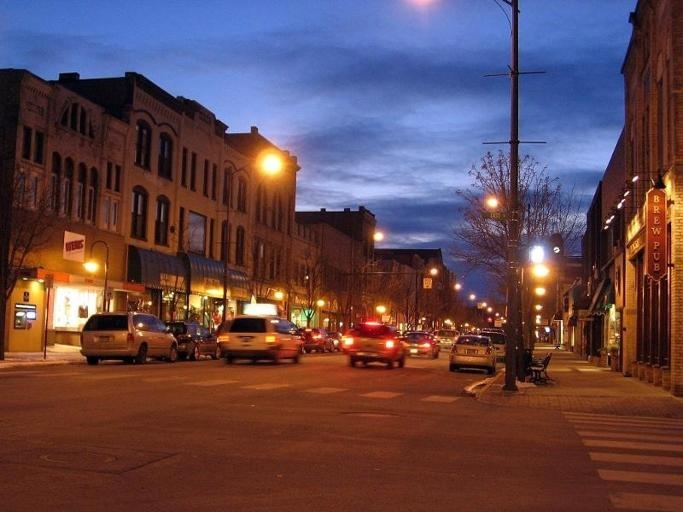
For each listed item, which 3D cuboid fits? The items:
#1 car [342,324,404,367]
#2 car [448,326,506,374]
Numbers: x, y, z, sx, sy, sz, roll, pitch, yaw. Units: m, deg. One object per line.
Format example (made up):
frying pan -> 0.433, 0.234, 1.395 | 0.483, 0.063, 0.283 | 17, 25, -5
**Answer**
car -> 1.641, 4.111, 36.068 | 2.378, 2.267, 5.509 | 3, 1, 7
car -> 6.255, 4.417, 34.362 | 1.835, 1.873, 4.726 | -1, -4, 16
